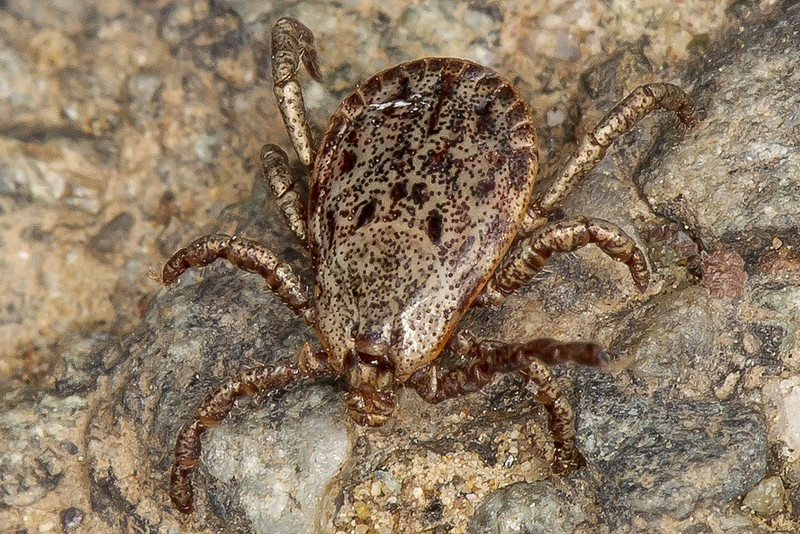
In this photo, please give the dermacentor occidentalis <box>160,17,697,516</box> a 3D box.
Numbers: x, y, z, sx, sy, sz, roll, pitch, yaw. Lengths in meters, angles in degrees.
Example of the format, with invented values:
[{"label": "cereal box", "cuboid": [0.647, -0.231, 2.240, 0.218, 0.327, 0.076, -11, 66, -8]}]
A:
[{"label": "dermacentor occidentalis", "cuboid": [0.017, -0.220, 9.088, 4.144, 1.313, 2.984, -3, 74, 0]}]
